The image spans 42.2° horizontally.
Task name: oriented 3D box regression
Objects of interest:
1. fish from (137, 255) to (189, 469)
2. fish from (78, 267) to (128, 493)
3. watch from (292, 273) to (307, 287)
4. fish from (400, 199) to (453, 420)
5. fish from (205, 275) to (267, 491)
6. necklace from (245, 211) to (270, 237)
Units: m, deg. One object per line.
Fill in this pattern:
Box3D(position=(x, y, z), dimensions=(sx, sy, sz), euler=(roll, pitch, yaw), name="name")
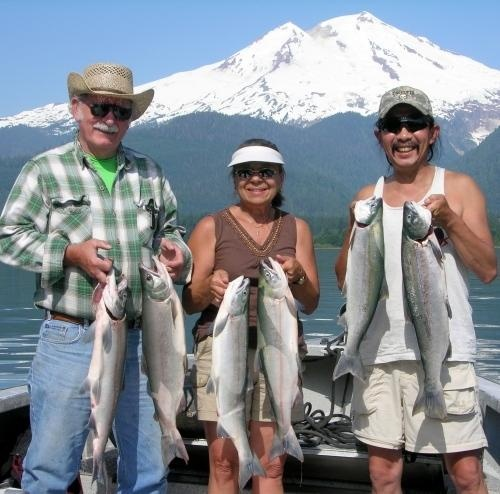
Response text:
Box3D(position=(-0.523, 0.690, 3.893), dimensions=(0.274, 1.226, 0.365), euler=(-1, -8, 12), name="fish")
Box3D(position=(-0.867, 0.750, 3.841), dimensions=(0.198, 1.319, 0.233), euler=(3, 0, -5), name="fish")
Box3D(position=(0.318, 0.210, 4.179), dimensions=(0.069, 0.079, 0.068), euler=(39, -14, -38), name="watch")
Box3D(position=(1.042, 0.390, 3.867), dimensions=(0.274, 1.259, 0.434), euler=(-3, -9, 25), name="fish")
Box3D(position=(-0.074, 0.813, 3.949), dimensions=(0.346, 1.234, 0.308), euler=(3, -8, -13), name="fish")
Box3D(position=(0.061, -0.139, 4.359), dimensions=(0.118, 0.183, 0.037), euler=(7, -16, -20), name="necklace")
